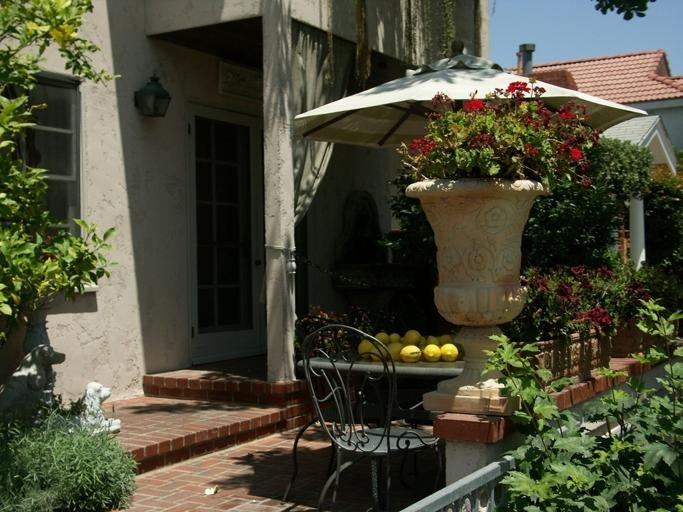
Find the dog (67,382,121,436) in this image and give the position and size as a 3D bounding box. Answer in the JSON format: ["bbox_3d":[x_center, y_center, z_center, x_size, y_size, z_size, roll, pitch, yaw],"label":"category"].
[{"bbox_3d":[-1.817,1.135,5.008,0.331,0.365,0.545,0,1,-18],"label":"dog"}]

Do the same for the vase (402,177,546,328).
[{"bbox_3d":[0.750,-0.022,3.793,0.707,0.791,0.289,1,1,15],"label":"vase"}]

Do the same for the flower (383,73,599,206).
[{"bbox_3d":[1.007,-0.632,4.100,1.107,0.783,0.807,0,3,29],"label":"flower"}]

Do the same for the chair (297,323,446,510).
[{"bbox_3d":[0.194,1.058,4.783,0.917,1.692,0.831,-5,-7,42],"label":"chair"}]
